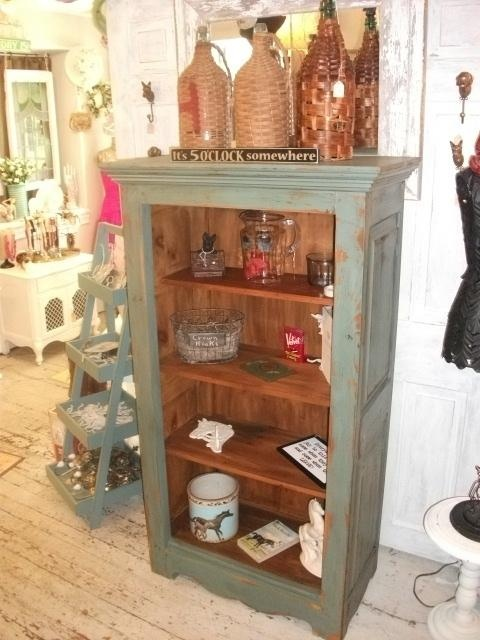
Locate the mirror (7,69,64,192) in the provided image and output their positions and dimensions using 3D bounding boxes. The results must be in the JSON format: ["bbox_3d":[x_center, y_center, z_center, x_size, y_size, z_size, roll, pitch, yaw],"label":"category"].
[{"bbox_3d":[-2.047,-1.920,5.084,0.101,1.067,0.660,6,16,24],"label":"mirror"}]

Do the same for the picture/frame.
[{"bbox_3d":[0.260,0.490,1.846,0.138,0.010,0.197,-14,11,-21],"label":"picture/frame"}]

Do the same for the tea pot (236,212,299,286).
[{"bbox_3d":[0.092,-0.259,1.747,0.268,0.269,0.192,8,22,18],"label":"tea pot"}]

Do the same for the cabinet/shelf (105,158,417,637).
[{"bbox_3d":[0.082,0.256,1.835,0.905,1.618,0.728,7,16,26],"label":"cabinet/shelf"}]
